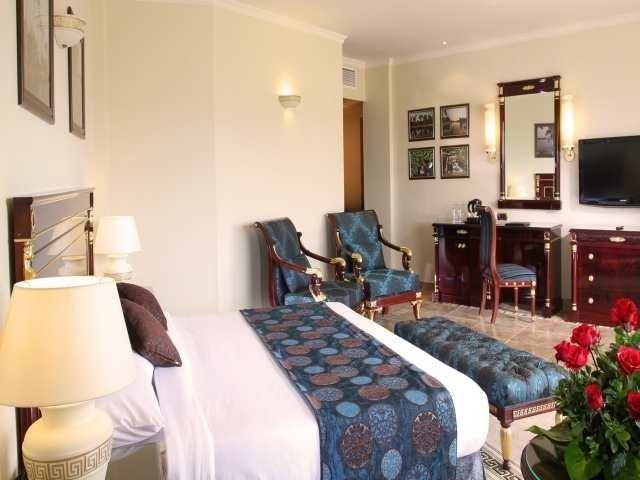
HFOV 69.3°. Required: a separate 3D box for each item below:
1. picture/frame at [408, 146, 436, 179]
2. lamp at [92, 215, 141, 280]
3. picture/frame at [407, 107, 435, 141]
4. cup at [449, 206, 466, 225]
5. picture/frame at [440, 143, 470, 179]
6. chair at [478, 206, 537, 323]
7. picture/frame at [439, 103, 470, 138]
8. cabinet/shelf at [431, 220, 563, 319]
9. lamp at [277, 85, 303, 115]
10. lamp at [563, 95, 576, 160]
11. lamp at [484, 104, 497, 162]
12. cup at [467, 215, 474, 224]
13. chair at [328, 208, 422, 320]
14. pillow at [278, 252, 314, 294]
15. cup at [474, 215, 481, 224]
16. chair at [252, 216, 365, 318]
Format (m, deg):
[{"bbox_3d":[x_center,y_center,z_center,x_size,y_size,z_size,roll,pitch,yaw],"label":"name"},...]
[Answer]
[{"bbox_3d":[1.414,-1.054,6.375,0.474,0.540,0.041,0,-2,33],"label":"picture/frame"},{"bbox_3d":[-1.531,0.081,3.504,0.347,0.477,0.355,-3,1,17],"label":"lamp"},{"bbox_3d":[1.394,-1.573,6.341,0.493,0.562,0.044,1,1,36],"label":"picture/frame"},{"bbox_3d":[1.800,-0.297,6.048,0.252,0.285,0.257,-1,2,0],"label":"cup"},{"bbox_3d":[1.803,-1.036,6.143,0.489,0.578,0.044,0,-1,32],"label":"picture/frame"},{"bbox_3d":[2.086,0.258,5.242,0.723,1.197,0.797,3,5,36],"label":"chair"},{"bbox_3d":[1.787,-1.561,6.105,0.484,0.554,0.041,1,0,32],"label":"picture/frame"},{"bbox_3d":[2.113,0.335,5.697,1.345,0.970,0.575,2,3,32],"label":"cabinet/shelf"},{"bbox_3d":[-0.327,-1.496,5.059,0.233,0.161,0.239,-9,28,-19],"label":"lamp"},{"bbox_3d":[2.853,-1.271,5.342,0.140,0.746,0.143,-1,-4,28],"label":"lamp"},{"bbox_3d":[2.145,-1.337,5.816,0.171,0.714,0.146,2,9,18],"label":"lamp"},{"bbox_3d":[1.871,-0.233,5.753,0.078,0.113,0.096,0,-3,21],"label":"cup"},{"bbox_3d":[0.614,0.310,5.190,0.762,1.164,0.907,-5,7,-23],"label":"chair"},{"bbox_3d":[-0.240,0.336,4.378,0.140,0.297,0.375,-6,-2,31],"label":"pillow"},{"bbox_3d":[1.944,-0.236,5.694,0.094,0.115,0.083,3,-3,-39],"label":"cup"},{"bbox_3d":[-0.058,0.379,4.564,0.975,1.011,0.752,3,8,17],"label":"chair"}]
